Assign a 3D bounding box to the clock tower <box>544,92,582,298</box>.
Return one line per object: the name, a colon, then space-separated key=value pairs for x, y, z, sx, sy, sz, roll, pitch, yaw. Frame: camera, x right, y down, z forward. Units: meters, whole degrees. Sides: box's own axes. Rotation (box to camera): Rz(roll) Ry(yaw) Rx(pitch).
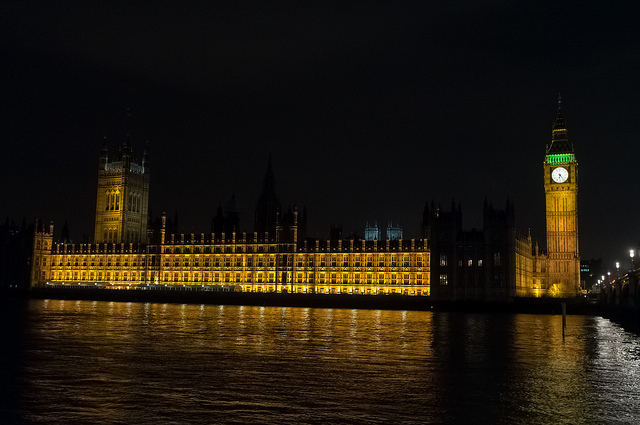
clock tower: x=60.388 y=-2.810 z=205.927 sx=7.080 sy=45.943 sz=10.747 roll=3 pitch=-9 yaw=-5
